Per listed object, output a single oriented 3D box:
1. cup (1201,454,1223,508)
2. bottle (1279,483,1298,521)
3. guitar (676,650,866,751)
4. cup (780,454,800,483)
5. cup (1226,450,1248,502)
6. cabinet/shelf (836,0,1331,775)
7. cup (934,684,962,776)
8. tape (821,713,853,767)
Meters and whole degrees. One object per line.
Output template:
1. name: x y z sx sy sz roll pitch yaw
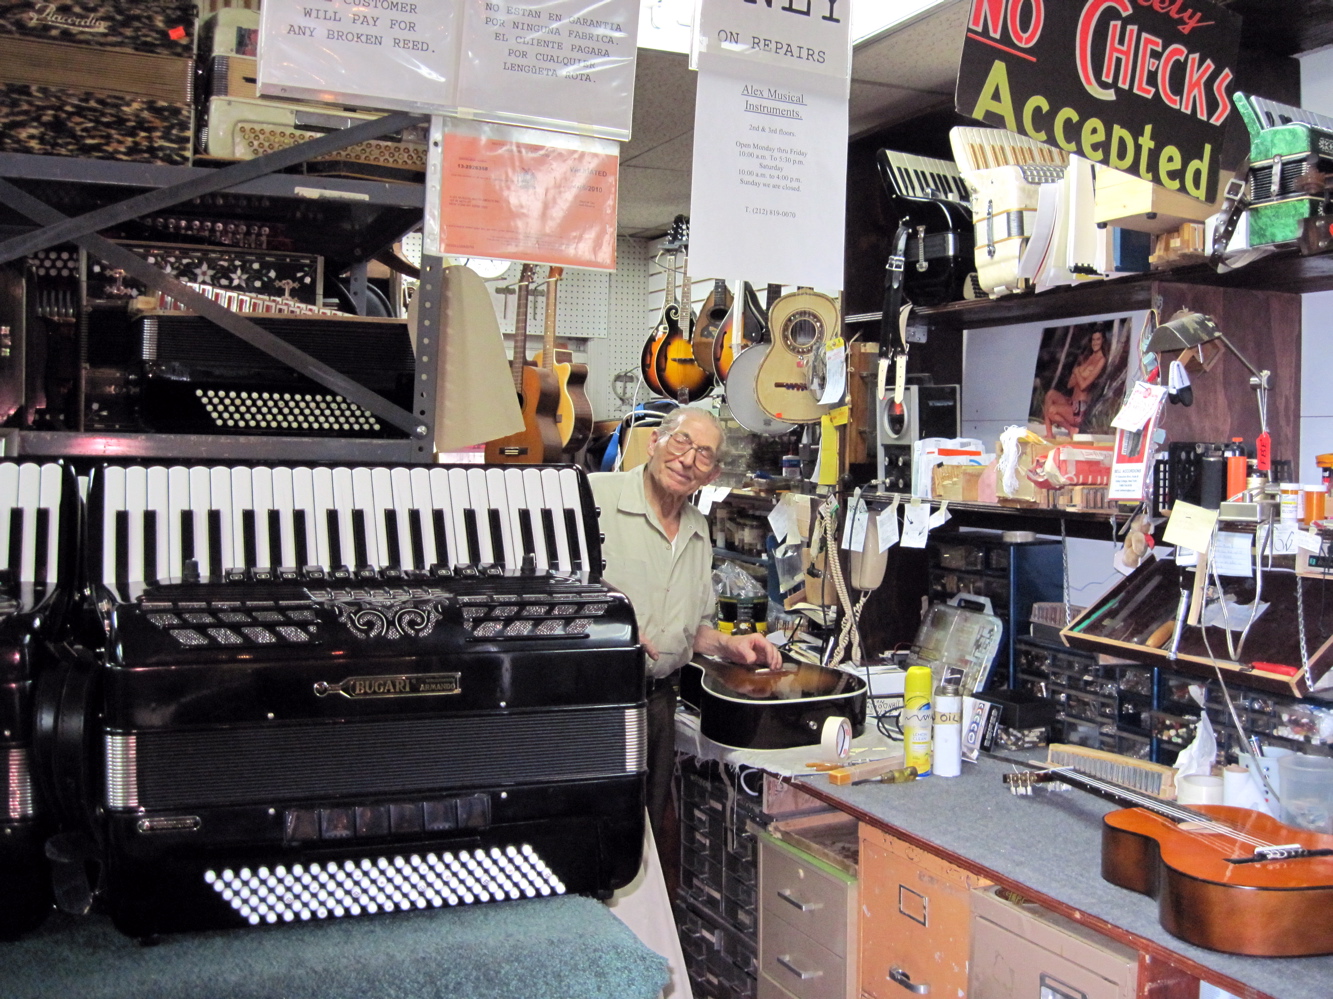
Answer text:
1. cup: 1.375 -0.047 2.817 0.038 0.123 0.057 1 5 1
2. bottle: 1.469 0.008 2.635 0.046 0.085 0.040 2 5 19
3. guitar: 0.303 0.605 3.371 0.577 0.193 0.398 2 6 10
4. cup: 0.502 -0.122 4.520 0.056 0.106 0.099 1 5 -15
5. cup: 1.413 -0.052 2.758 0.045 0.102 0.074 1 5 3
6. cabinet/shelf: 1.215 -0.404 3.548 0.821 2.129 1.698 -4 7 -44
7. cup: 0.782 0.637 3.115 0.077 0.240 0.108 2 5 13
8. tape: 0.473 0.676 3.135 0.043 0.086 0.087 1 48 27
